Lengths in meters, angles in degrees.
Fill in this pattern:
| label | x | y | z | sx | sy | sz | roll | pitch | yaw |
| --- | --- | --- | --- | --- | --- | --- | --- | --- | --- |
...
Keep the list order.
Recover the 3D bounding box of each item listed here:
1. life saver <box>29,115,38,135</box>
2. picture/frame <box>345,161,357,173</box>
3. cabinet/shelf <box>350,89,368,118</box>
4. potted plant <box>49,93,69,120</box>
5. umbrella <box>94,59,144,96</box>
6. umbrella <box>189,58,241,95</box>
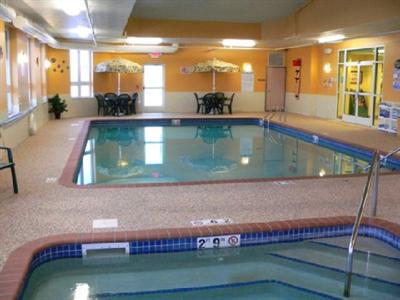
| label | x | y | z | sx | sy | sz | roll | pitch | yaw |
| --- | --- | --- | --- | --- | --- | --- | --- | --- | --- |
| life saver | -5.751 | -0.859 | 9.700 | 0.149 | 0.702 | 0.453 | -3 | 13 | -14 |
| picture/frame | 3.808 | 0.455 | 7.130 | 0.321 | 0.078 | 0.316 | -6 | 19 | 1 |
| cabinet/shelf | 6.864 | -1.948 | 12.242 | 0.282 | 0.993 | 1.197 | 0 | 13 | 0 |
| potted plant | -6.993 | -2.080 | 13.751 | 1.122 | 1.217 | 0.982 | -4 | 11 | -32 |
| umbrella | -3.953 | -3.785 | 14.199 | 1.588 | 1.240 | 1.548 | -1 | 16 | -3 |
| umbrella | 0.739 | -4.266 | 15.445 | 2.246 | 1.380 | 2.183 | -2 | 19 | -3 |
